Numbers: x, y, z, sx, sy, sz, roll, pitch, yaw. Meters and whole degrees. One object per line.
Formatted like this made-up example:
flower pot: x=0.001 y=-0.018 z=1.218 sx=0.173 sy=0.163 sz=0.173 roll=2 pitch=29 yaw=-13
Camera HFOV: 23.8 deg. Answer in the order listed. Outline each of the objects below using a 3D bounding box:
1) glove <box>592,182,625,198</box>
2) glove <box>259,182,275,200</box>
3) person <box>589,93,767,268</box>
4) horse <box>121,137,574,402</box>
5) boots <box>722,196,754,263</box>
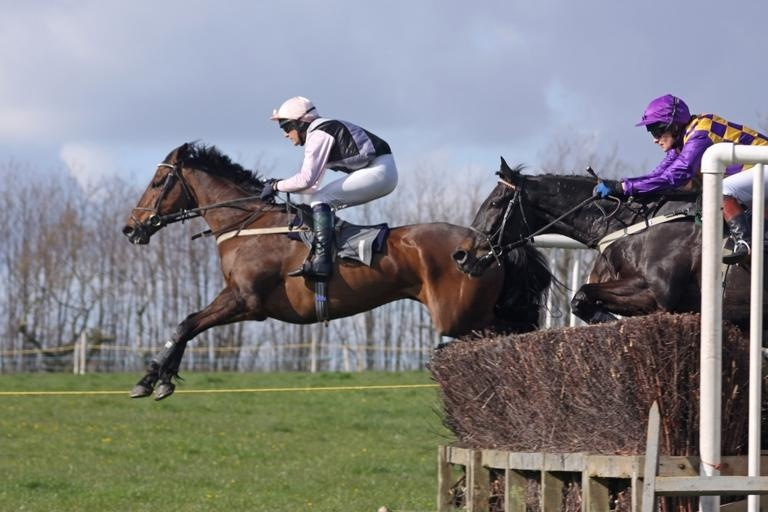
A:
glove: x=2.159 y=-0.658 z=17.584 sx=0.250 sy=0.132 sz=0.094 roll=4 pitch=-32 yaw=13
glove: x=-1.201 y=-0.686 z=18.794 sx=0.112 sy=0.181 sz=0.180 roll=9 pitch=-26 yaw=15
person: x=2.899 y=-0.742 z=17.203 sx=1.471 sy=1.692 sz=0.902 roll=0 pitch=-9 yaw=5
horse: x=-0.600 y=0.251 z=19.076 sx=5.186 sy=2.504 sz=0.931 roll=4 pitch=5 yaw=-28
boots: x=3.226 y=-0.237 z=16.718 sx=0.419 sy=0.683 sz=0.215 roll=6 pitch=-44 yaw=13
